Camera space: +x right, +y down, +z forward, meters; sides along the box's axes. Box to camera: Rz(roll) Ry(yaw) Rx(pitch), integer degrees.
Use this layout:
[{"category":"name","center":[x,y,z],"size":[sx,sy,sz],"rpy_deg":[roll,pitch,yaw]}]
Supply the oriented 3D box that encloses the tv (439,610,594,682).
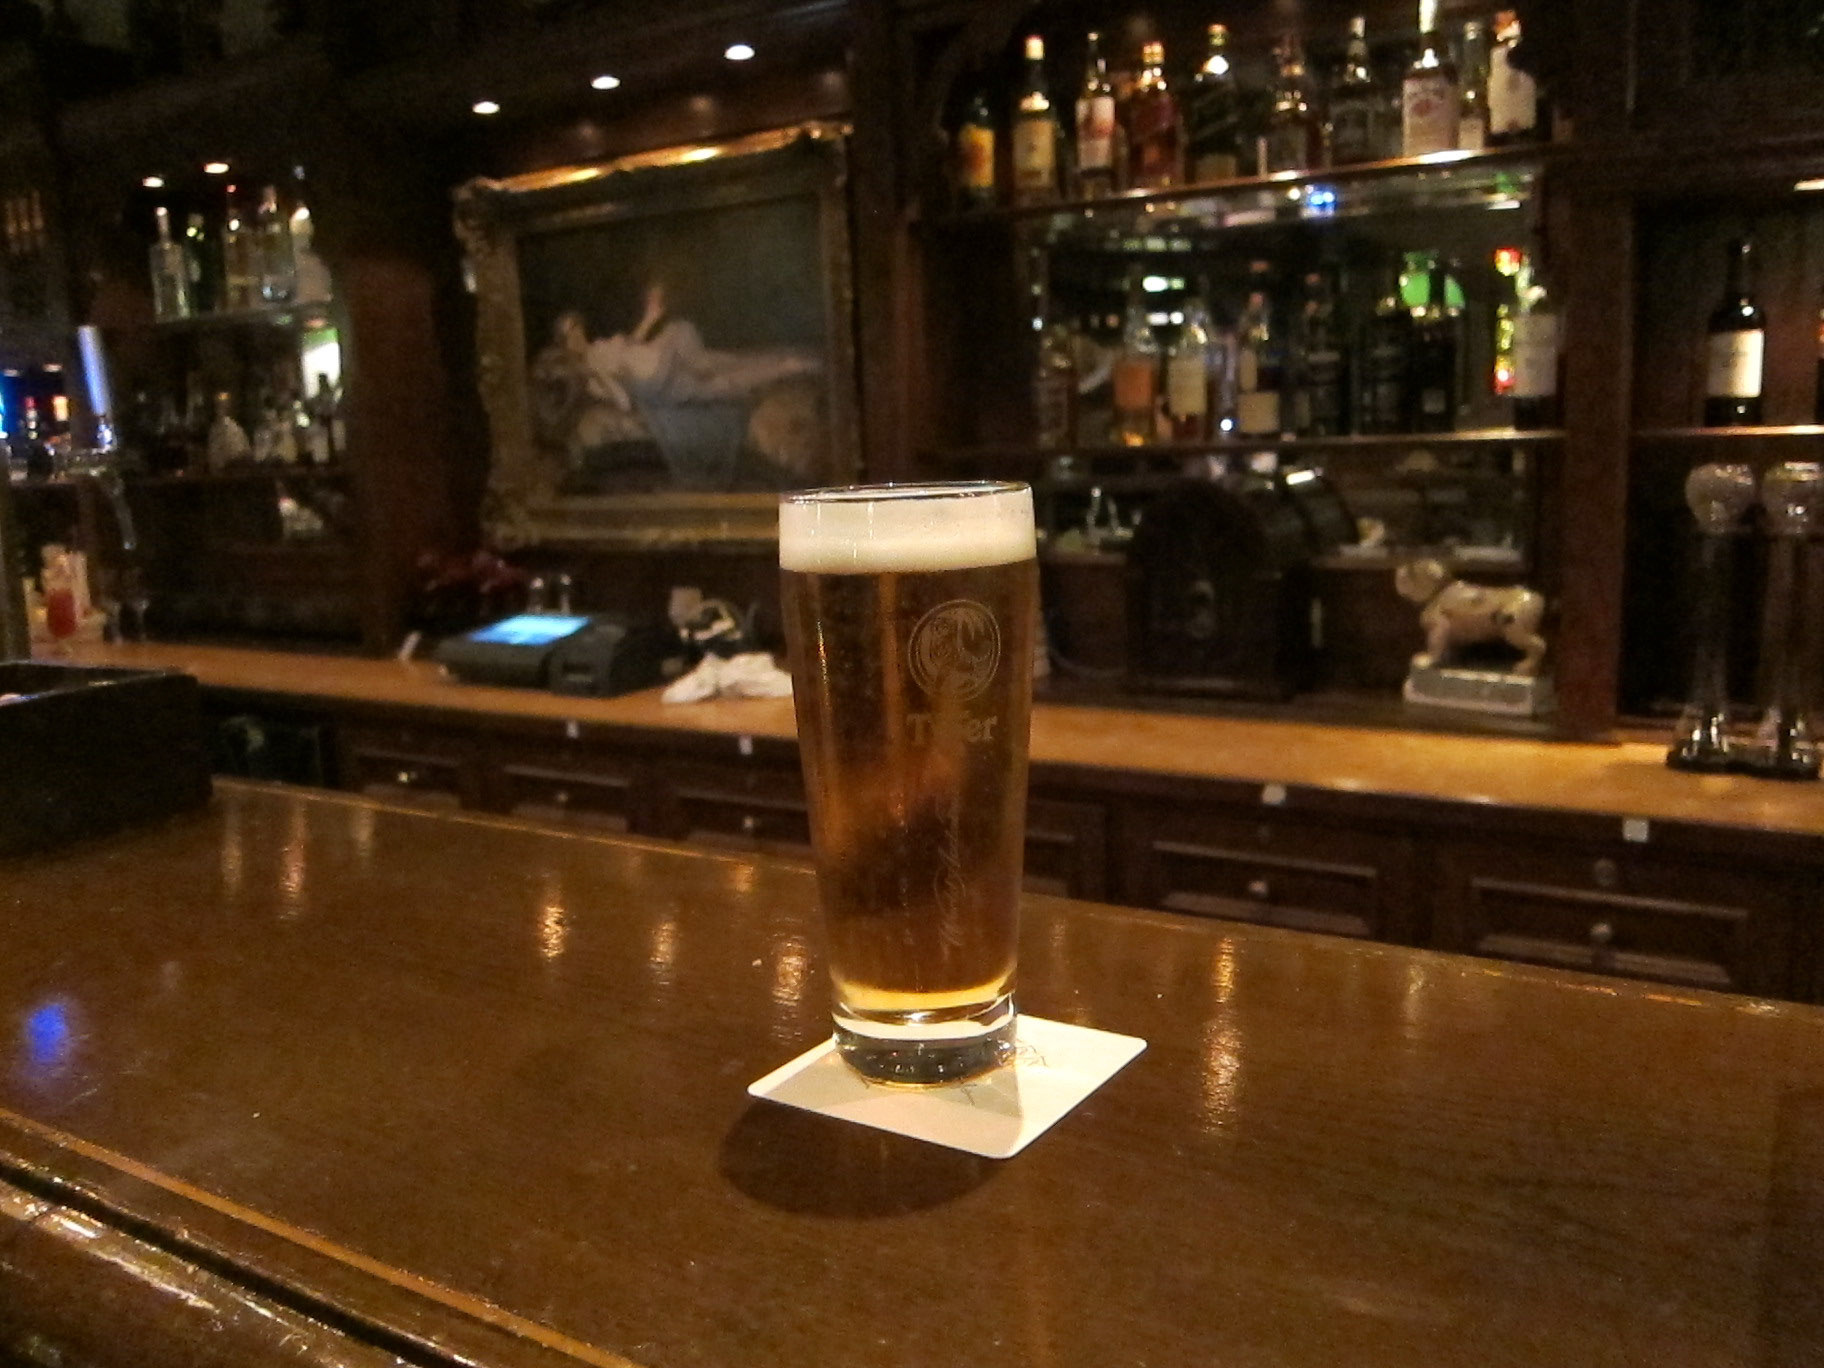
[{"category":"tv","center":[-1.032,-0.141,3.724],"size":[0.225,0.086,0.303],"rpy_deg":[3,11,11]}]

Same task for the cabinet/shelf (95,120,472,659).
[{"category":"cabinet/shelf","center":[-2.064,-0.953,4.772],"size":[1.594,1.587,0.552],"rpy_deg":[6,15,33]}]

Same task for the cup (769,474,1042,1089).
[{"category":"cup","center":[0.001,0.055,0.735],"size":[0.127,0.307,0.079],"rpy_deg":[-1,13,2]}]

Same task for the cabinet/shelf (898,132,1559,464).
[{"category":"cabinet/shelf","center":[0.693,-0.723,3.166],"size":[1.369,0.601,0.275],"rpy_deg":[4,6,32]}]

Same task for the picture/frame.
[{"category":"picture/frame","center":[-0.689,-0.933,4.141],"size":[1.456,1.126,0.164],"rpy_deg":[3,11,28]}]

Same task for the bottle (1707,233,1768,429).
[{"category":"bottle","center":[1.510,-0.642,2.615],"size":[0.088,0.326,0.143],"rpy_deg":[7,15,34]}]
